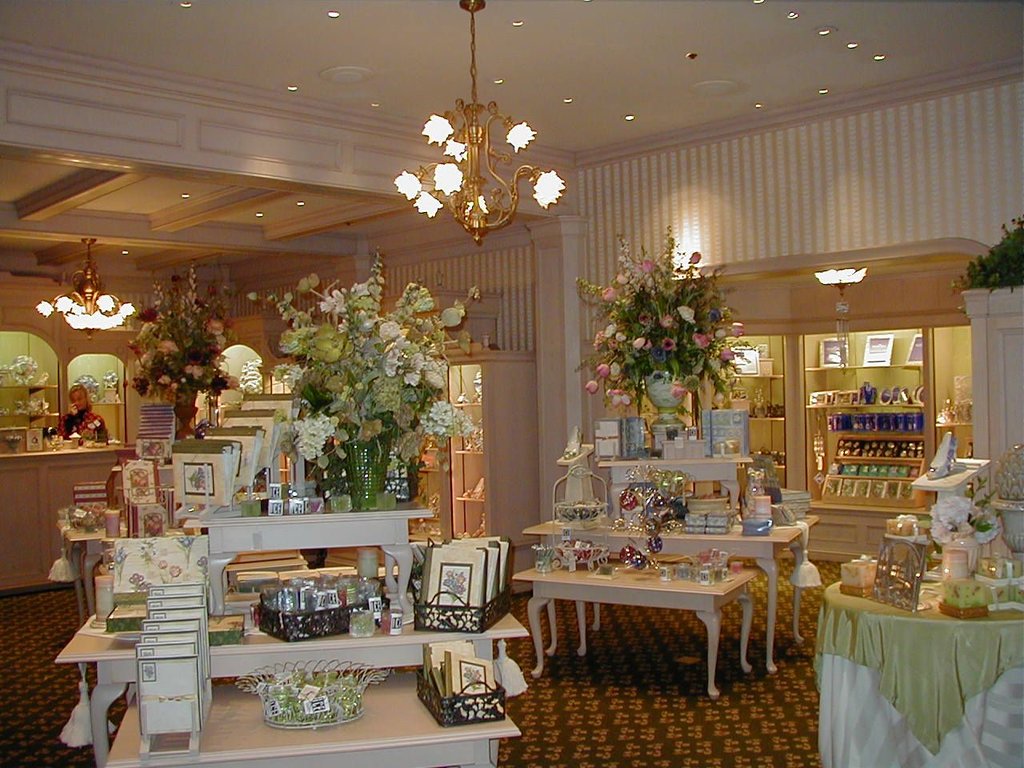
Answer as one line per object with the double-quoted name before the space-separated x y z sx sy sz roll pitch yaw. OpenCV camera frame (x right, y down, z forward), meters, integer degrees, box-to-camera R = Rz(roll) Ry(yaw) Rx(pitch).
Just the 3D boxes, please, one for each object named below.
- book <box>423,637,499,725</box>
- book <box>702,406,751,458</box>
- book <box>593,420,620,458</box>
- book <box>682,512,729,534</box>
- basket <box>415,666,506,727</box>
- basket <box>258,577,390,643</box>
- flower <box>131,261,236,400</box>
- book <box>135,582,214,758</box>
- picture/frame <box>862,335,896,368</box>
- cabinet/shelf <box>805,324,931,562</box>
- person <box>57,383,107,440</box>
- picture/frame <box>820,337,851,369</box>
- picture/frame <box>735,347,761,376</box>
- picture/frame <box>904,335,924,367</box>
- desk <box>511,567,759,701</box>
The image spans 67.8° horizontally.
"book" -0.226 1.261 3.254 0.261 0.217 0.340 3 -4 -17
"book" 1.716 0.387 6.265 0.380 0.339 0.373 0 -2 9
"book" 0.762 0.458 6.243 0.277 0.353 0.270 -1 3 1
"book" 1.472 1.073 5.836 0.233 0.097 0.167 0 -2 25
"basket" -0.222 1.306 3.174 0.288 0.120 0.370 0 -3 -16
"basket" -0.856 1.007 3.490 0.396 0.109 0.287 2 -2 -39
"flower" -3.347 -0.507 7.712 0.876 1.138 0.672 -2 -1 -24
"book" -1.326 1.142 2.997 0.246 0.550 0.610 1 -1 -10
"picture/frame" 4.789 -0.415 9.997 0.414 0.507 0.303 8 5 41
"cabinet/shelf" 4.518 0.761 9.798 1.569 3.156 0.965 -2 0 26
"person" -6.205 0.408 10.932 0.782 0.844 0.489 0 -12 -19
"picture/frame" 4.330 -0.411 10.262 0.454 0.453 0.053 1 -4 14
"picture/frame" 2.996 -0.280 9.830 0.386 0.358 0.039 -29 1 -32
"picture/frame" 5.108 -0.428 9.759 0.105 0.414 0.194 -2 0 -40
"desk" 0.966 1.836 5.956 1.654 0.911 1.138 -2 -1 26
